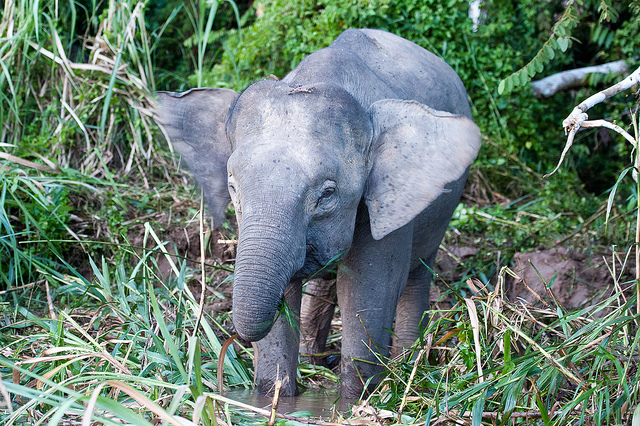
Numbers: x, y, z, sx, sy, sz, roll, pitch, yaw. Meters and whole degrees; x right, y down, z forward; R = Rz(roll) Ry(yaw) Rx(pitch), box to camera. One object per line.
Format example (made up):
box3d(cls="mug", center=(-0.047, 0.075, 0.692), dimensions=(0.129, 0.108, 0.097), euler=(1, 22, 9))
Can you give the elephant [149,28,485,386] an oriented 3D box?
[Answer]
box3d(cls="elephant", center=(0.099, 0.055, 3.454), dimensions=(1.379, 1.739, 2.080), euler=(5, 17, 23))
